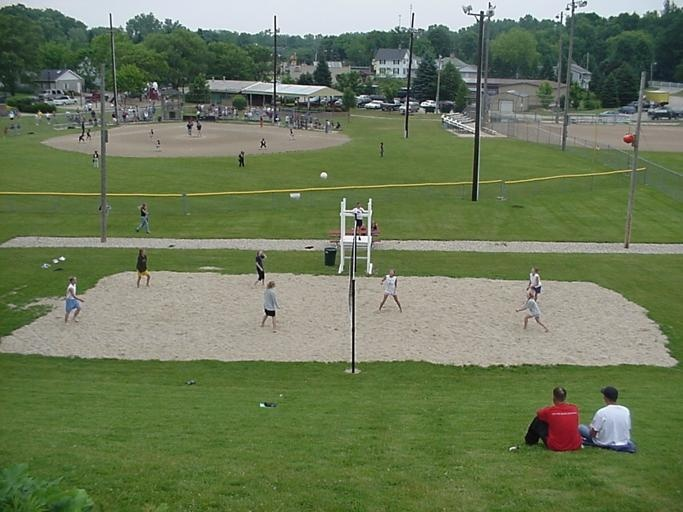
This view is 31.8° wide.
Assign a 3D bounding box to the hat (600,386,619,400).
[{"bbox_3d":[11.440,5.847,51.280,0.594,0.621,0.698,4,12,18],"label":"hat"}]

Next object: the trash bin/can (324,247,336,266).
[{"bbox_3d":[-0.694,0.017,68.782,0.644,1.038,0.814,-1,12,-6],"label":"trash bin/can"}]
